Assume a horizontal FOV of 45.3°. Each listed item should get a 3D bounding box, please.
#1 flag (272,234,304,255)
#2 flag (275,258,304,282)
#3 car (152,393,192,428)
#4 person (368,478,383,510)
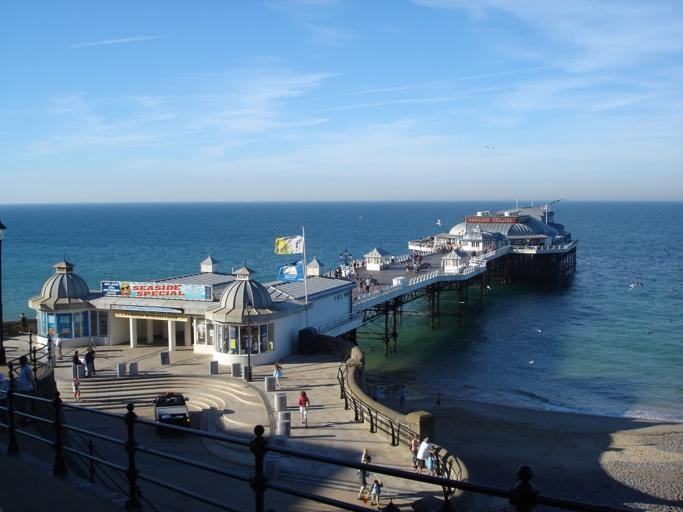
[{"bbox_3d":[-3.041,-0.660,46.960,1.416,0.950,2.023,-3,4,22],"label":"flag"},{"bbox_3d":[-2.914,0.932,47.258,1.529,1.232,2.983,-6,4,-5],"label":"flag"},{"bbox_3d":[-7.776,6.480,36.761,1.530,0.929,2.668,-3,22,-16],"label":"car"},{"bbox_3d":[1.243,8.494,29.536,0.511,0.978,1.078,-7,5,-1],"label":"person"}]
